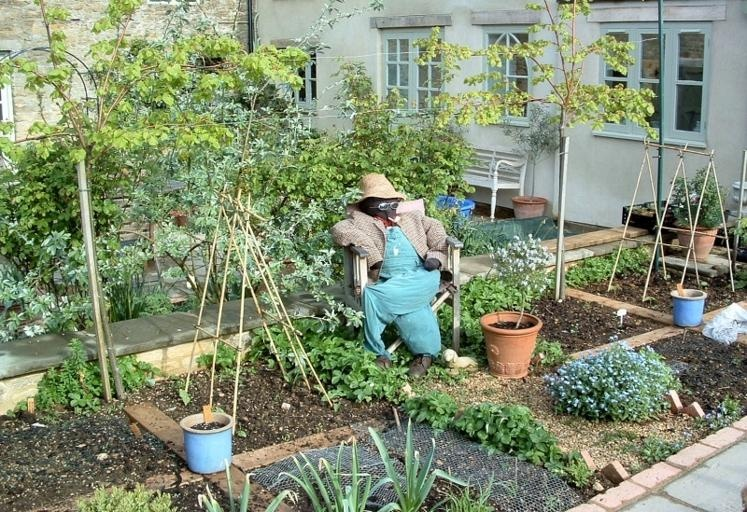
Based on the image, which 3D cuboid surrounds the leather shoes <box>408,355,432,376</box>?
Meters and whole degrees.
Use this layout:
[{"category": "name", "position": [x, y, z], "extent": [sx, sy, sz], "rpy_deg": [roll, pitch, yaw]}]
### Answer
[{"category": "leather shoes", "position": [0.418, 0.953, 5.174], "extent": [0.188, 0.141, 0.239], "rpy_deg": [2, 14, 9]}]

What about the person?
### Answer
[{"category": "person", "position": [0.207, 0.089, 5.428], "extent": [1.107, 1.024, 1.903], "rpy_deg": [-3, 39, -4]}]

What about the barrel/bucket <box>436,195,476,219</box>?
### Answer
[{"category": "barrel/bucket", "position": [1.248, -0.725, 8.632], "extent": [0.485, 0.202, 0.560], "rpy_deg": [-1, 9, -11]}]

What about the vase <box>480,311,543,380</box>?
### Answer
[{"category": "vase", "position": [1.213, 0.791, 5.284], "extent": [0.603, 0.431, 0.569], "rpy_deg": [6, 14, 26]}]

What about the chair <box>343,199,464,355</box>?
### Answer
[{"category": "chair", "position": [0.349, 0.254, 5.937], "extent": [1.191, 1.366, 1.109], "rpy_deg": [-5, -2, 5]}]

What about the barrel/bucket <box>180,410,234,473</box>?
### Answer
[{"category": "barrel/bucket", "position": [-1.080, 1.212, 3.894], "extent": [0.368, 0.253, 0.321], "rpy_deg": [1, 9, -19]}]

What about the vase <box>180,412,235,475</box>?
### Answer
[{"category": "vase", "position": [-1.084, 1.232, 3.903], "extent": [0.383, 0.260, 0.355], "rpy_deg": [1, 3, -3]}]

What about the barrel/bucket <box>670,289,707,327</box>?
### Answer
[{"category": "barrel/bucket", "position": [3.284, 0.543, 6.154], "extent": [0.333, 0.308, 0.363], "rpy_deg": [-6, 13, 1]}]

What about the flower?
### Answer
[{"category": "flower", "position": [1.575, 0.245, 6.548], "extent": [0.716, 0.773, 0.786], "rpy_deg": [1, -8, -10]}]

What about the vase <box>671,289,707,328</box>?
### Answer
[{"category": "vase", "position": [3.279, 0.543, 6.154], "extent": [0.325, 0.306, 0.363], "rpy_deg": [6, 18, 42]}]

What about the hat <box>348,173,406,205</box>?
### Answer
[{"category": "hat", "position": [0.064, -0.627, 5.429], "extent": [0.341, 0.173, 0.344], "rpy_deg": [-3, -12, -26]}]

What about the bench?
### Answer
[{"category": "bench", "position": [2.179, -1.293, 10.344], "extent": [0.637, 0.939, 1.608], "rpy_deg": [-6, 14, -21]}]

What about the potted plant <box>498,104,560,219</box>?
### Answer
[{"category": "potted plant", "position": [2.833, -1.800, 10.457], "extent": [0.522, 1.715, 1.168], "rpy_deg": [-9, 17, -30]}]
